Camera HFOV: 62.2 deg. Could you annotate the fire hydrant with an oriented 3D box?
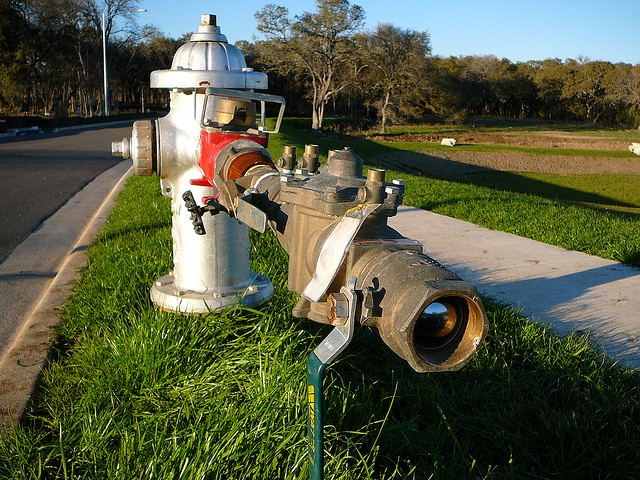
[{"bbox_3d":[-0.836,-0.461,3.616,1.004,2.037,0.822,6,16,14],"label":"fire hydrant"}]
